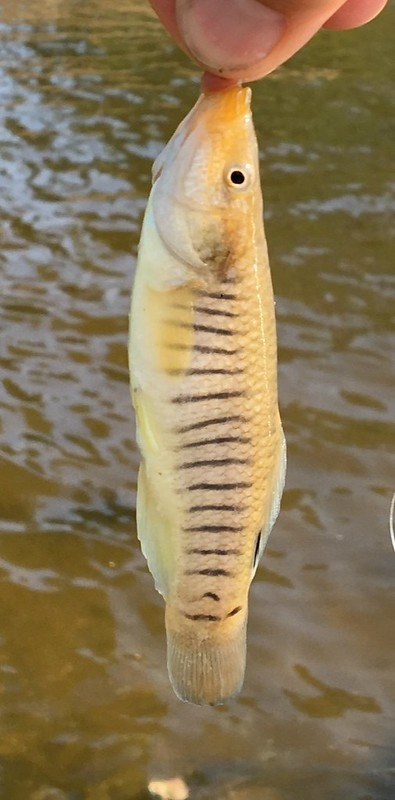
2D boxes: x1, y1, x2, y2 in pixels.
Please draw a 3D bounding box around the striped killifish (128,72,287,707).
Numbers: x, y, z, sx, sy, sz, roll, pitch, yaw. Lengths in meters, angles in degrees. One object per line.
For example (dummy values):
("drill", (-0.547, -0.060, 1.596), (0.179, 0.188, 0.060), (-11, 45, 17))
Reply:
("striped killifish", (0.006, 0.011, 1.503), (0.229, 0.998, 0.176), (2, 15, -5))
